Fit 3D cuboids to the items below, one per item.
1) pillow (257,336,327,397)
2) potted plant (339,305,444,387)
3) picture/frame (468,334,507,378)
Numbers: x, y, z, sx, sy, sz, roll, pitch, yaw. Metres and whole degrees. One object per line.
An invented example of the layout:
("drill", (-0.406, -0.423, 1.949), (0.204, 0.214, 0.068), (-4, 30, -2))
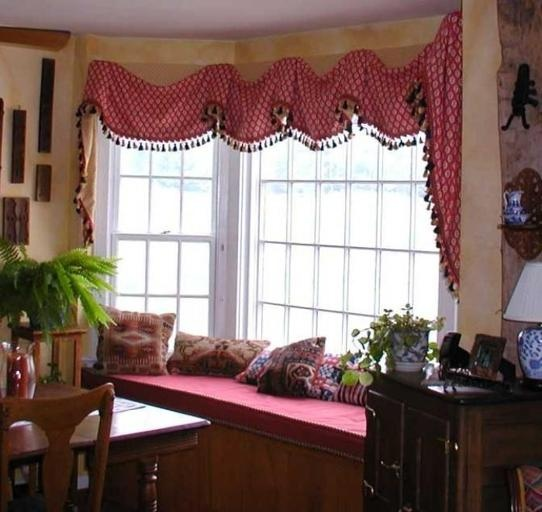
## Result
("pillow", (0.123, 0.668, 3.489), (0.298, 0.348, 0.126), (-6, -25, 40))
("potted plant", (0.498, 0.382, 2.603), (0.377, 0.364, 0.916), (2, -3, 8))
("picture/frame", (0.728, 0.341, 2.022), (0.015, 0.204, 0.137), (12, -6, -36))
